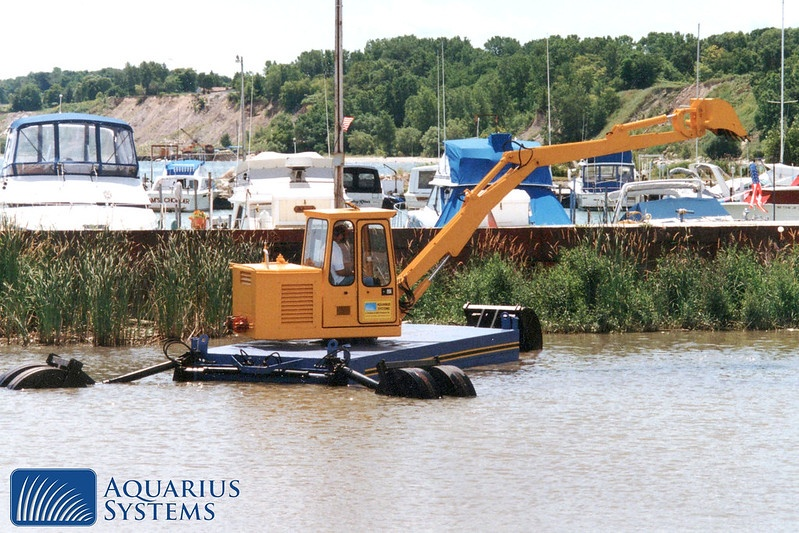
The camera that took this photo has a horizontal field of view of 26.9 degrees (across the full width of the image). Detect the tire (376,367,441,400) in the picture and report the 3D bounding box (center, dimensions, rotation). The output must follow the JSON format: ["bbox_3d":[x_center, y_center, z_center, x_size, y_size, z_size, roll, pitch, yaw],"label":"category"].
[{"bbox_3d":[0.238,2.907,41.073,0.800,0.719,1.177,1,2,-37],"label":"tire"}]

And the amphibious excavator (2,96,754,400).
[{"bbox_3d":[0.642,0.354,43.991,14.612,5.789,9.220,-1,2,-25],"label":"amphibious excavator"}]
